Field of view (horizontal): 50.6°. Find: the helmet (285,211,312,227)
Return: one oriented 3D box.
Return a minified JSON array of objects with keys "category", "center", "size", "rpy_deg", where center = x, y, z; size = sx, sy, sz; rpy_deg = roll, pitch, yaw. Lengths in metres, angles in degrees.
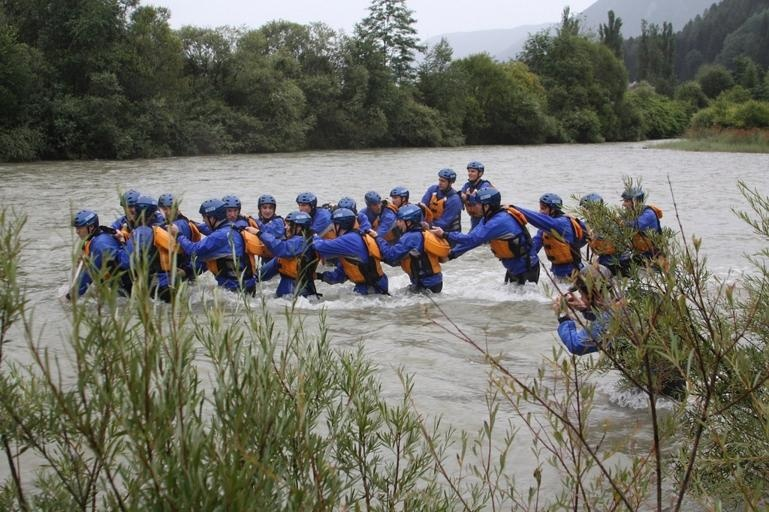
[{"category":"helmet","center":[-1.362,-0.599,12.802],"size":[0.292,0.170,0.235],"rpy_deg":[-6,13,-30]}]

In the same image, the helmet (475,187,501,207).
[{"category":"helmet","center":[1.765,-1.018,13.686],"size":[0.340,0.331,0.280],"rpy_deg":[-11,36,15]}]

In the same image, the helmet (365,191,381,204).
[{"category":"helmet","center":[-0.213,-1.129,15.429],"size":[0.217,0.280,0.295],"rpy_deg":[-6,-2,-6]}]

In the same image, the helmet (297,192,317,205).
[{"category":"helmet","center":[-1.426,-1.027,14.634],"size":[0.255,0.316,0.317],"rpy_deg":[1,1,21]}]

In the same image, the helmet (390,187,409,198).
[{"category":"helmet","center":[0.293,-1.210,15.681],"size":[0.284,0.279,0.221],"rpy_deg":[17,12,1]}]

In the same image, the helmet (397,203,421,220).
[{"category":"helmet","center":[0.432,-0.723,13.322],"size":[0.313,0.282,0.247],"rpy_deg":[10,12,17]}]

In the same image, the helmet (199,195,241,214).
[{"category":"helmet","center":[-2.757,-0.784,13.596],"size":[0.490,0.299,0.369],"rpy_deg":[-12,15,-2]}]
